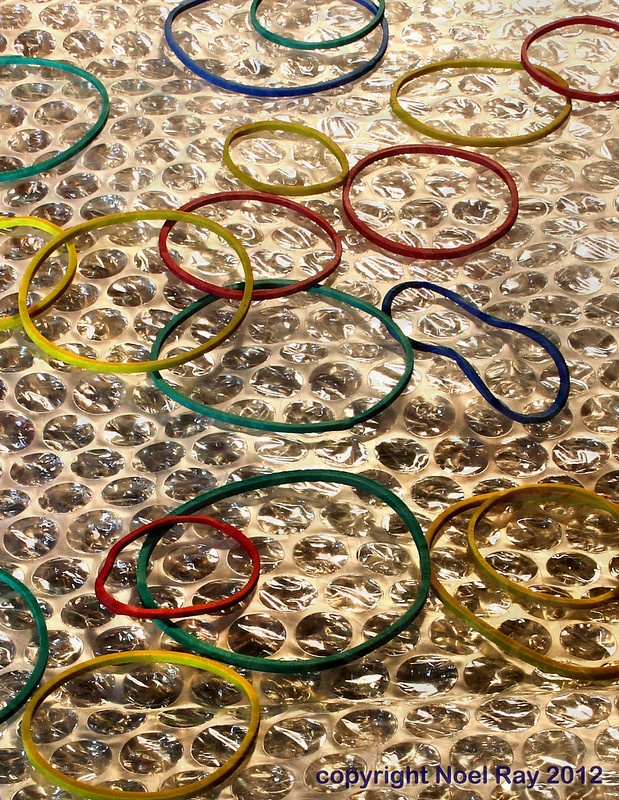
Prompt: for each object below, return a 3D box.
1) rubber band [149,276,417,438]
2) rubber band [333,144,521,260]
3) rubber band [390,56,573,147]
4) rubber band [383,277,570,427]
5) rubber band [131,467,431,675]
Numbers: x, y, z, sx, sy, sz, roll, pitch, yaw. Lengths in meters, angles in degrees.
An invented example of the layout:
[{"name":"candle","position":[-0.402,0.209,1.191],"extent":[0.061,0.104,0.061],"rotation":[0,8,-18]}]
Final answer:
[{"name":"rubber band","position":[-0.039,-0.028,1.320],"extent":[0.376,0.013,0.233],"rotation":[4,51,7]},{"name":"rubber band","position":[0.182,-0.337,1.541],"extent":[0.289,0.038,0.248],"rotation":[26,67,13]},{"name":"rubber band","position":[0.304,-0.574,1.799],"extent":[0.327,0.308,0.039],"rotation":[-11,67,-33]},{"name":"rubber band","position":[0.259,-0.061,1.487],"extent":[0.345,0.043,0.174],"rotation":[34,50,21]},{"name":"rubber band","position":[-0.042,0.211,1.286],"extent":[0.385,0.022,0.422],"rotation":[-19,35,-17]}]
